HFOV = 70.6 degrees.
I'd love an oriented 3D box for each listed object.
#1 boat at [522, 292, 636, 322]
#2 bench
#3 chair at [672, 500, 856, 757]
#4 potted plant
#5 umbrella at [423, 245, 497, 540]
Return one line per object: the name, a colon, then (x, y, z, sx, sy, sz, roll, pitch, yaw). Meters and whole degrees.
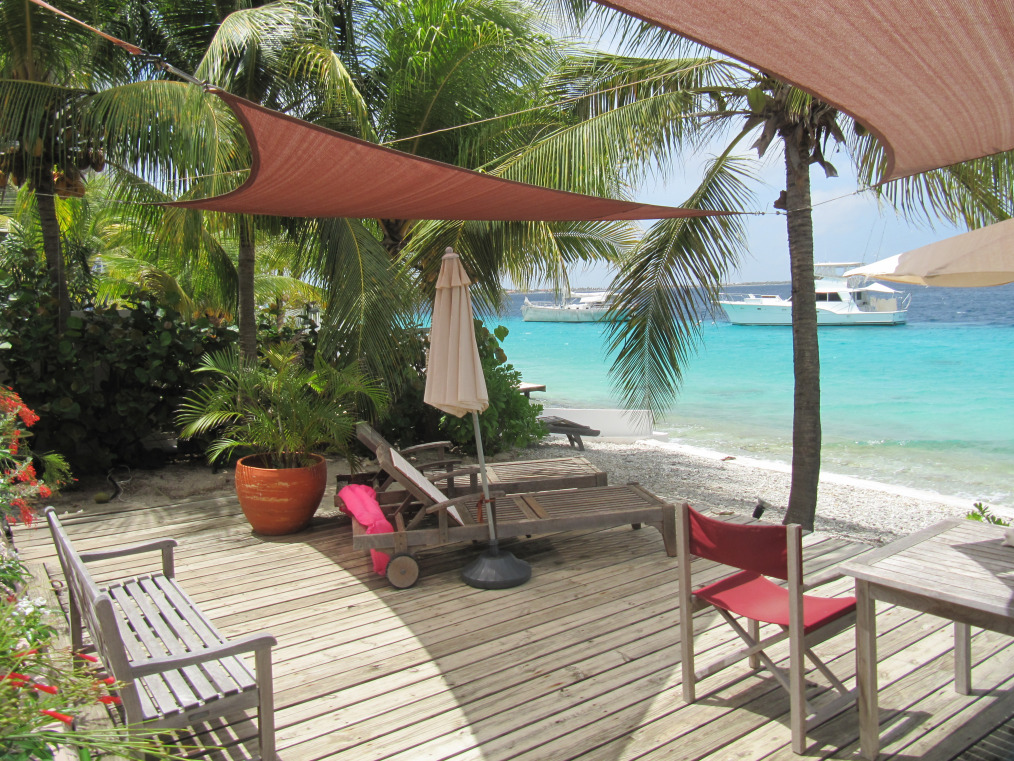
boat: (5.882, -6.179, 57.305, 12.440, 2.827, 3.590, 4, 5, 33)
bench: (-1.767, 1.254, 3.664, 0.568, 0.537, 1.303, -8, 10, -30)
chair: (1.307, 1.108, 3.586, 0.674, 1.061, 0.786, -12, 17, -41)
potted plant: (-2.101, 0.440, 6.765, 2.121, 1.565, 2.072, 0, 2, 39)
umbrella: (-0.357, 0.094, 5.098, 0.456, 2.027, 0.683, -2, 13, -3)
